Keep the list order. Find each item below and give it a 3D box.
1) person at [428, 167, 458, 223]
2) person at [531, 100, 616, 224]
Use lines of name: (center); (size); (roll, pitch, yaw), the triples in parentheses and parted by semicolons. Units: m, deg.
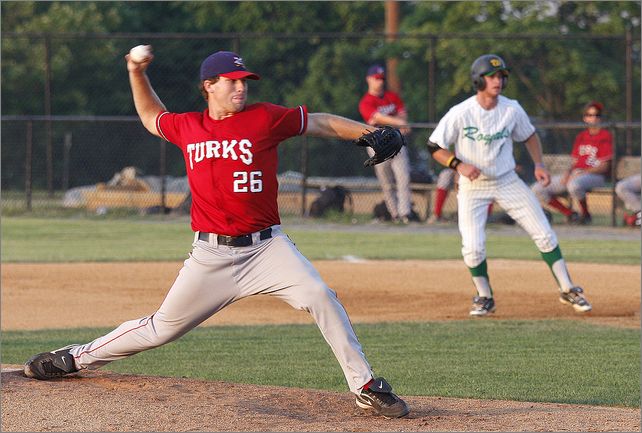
person: (1.781, -0.313, 19.877); (0.320, 0.860, 0.310); (8, -7, -12)
person: (3.797, -0.720, 19.746); (1.033, 1.625, 0.725); (5, 18, 4)
